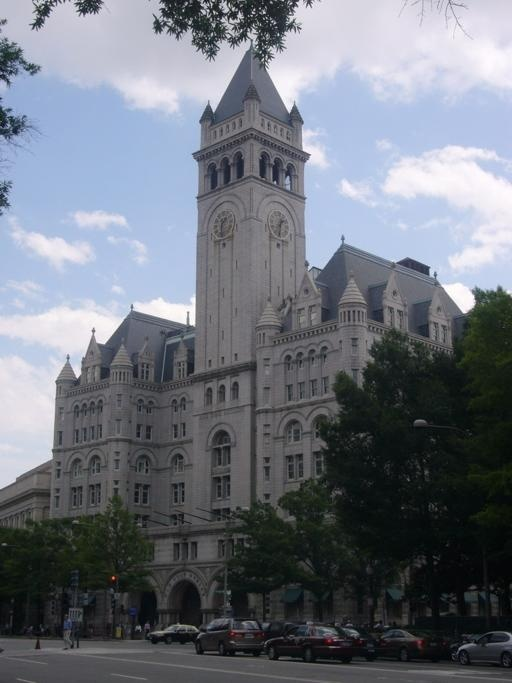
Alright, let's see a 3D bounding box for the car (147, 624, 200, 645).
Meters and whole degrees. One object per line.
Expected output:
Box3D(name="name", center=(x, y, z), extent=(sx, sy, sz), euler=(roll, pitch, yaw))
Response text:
Box3D(name="car", center=(-4.870, 17.646, 67.553), extent=(2.718, 1.119, 1.874), euler=(2, -16, -2))
